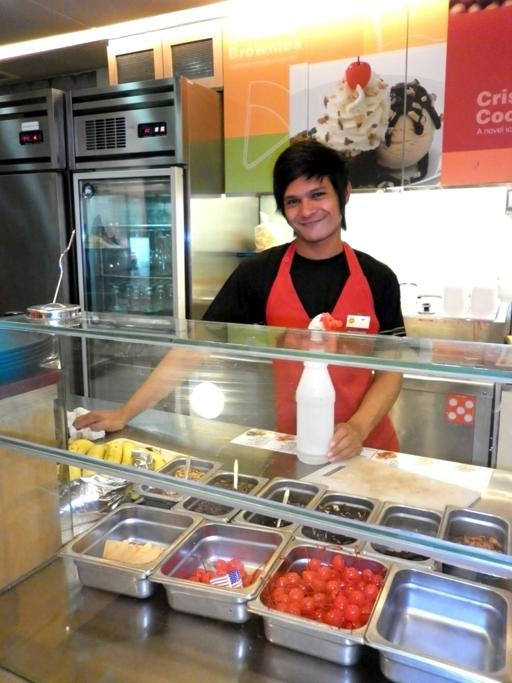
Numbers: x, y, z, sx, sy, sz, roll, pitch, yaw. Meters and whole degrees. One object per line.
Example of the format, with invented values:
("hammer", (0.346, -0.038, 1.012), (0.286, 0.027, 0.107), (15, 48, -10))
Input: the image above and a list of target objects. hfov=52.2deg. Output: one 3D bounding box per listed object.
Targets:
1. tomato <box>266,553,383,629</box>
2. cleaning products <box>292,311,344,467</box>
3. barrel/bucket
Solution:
("tomato", (0.093, 0.350, 0.732), (0.155, 0.050, 0.115), (4, 11, 26))
("cleaning products", (0.088, 0.107, 0.786), (0.063, 0.147, 0.075), (1, 11, 10))
("barrel/bucket", (-0.393, -0.021, 1.100), (0.144, 0.146, 0.137), (2, 6, 0))
